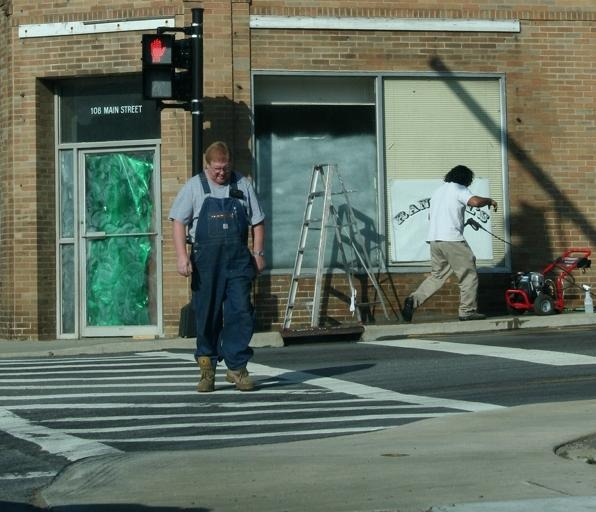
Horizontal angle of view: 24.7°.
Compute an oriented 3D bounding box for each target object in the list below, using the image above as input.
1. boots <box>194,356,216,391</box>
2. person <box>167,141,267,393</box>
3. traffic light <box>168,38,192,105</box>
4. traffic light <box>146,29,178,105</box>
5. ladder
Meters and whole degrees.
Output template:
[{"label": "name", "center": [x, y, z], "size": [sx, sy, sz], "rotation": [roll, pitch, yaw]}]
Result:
[{"label": "boots", "center": [-0.920, 1.164, 13.448], "size": [0.176, 0.325, 0.463], "rotation": [-7, 3, 8]}, {"label": "person", "center": [-0.782, 0.125, 13.387], "size": [1.013, 2.414, 0.698], "rotation": [-1, 5, 9]}, {"label": "traffic light", "center": [-1.564, -2.490, 18.216], "size": [0.348, 0.774, 0.294], "rotation": [-2, 6, -30]}, {"label": "traffic light", "center": [-1.829, -2.517, 18.056], "size": [0.454, 0.866, 0.298], "rotation": [0, 3, 10]}, {"label": "ladder", "center": [0.487, -0.181, 19.304], "size": [1.407, 2.423, 1.749], "rotation": [0, -1, 16]}]
